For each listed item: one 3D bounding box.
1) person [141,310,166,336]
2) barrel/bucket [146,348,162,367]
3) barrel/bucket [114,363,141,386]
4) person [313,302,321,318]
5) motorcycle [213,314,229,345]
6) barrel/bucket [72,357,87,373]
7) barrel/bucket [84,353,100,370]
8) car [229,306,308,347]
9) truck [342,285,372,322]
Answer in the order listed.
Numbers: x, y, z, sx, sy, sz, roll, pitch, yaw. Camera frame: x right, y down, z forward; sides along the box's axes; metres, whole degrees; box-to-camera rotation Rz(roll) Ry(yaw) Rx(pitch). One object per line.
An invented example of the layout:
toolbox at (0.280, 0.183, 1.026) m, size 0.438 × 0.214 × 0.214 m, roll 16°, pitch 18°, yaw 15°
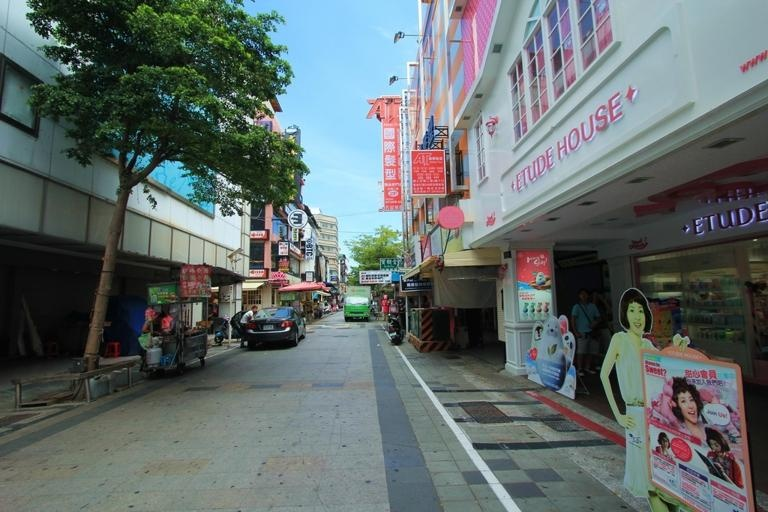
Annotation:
person at (-6.171, 1.801, 13.982) m, size 0.456 × 0.730 × 0.984 m, roll -1°, pitch -9°, yaw -7°
barrel/bucket at (-6.049, 2.697, 13.697) m, size 0.397 × 0.452 × 0.418 m, roll 0°, pitch -13°, yaw 0°
barrel/bucket at (-6.522, 3.092, 13.293) m, size 0.352 × 0.612 × 0.577 m, roll -2°, pitch -4°, yaw -45°
person at (-5.815, 4.771, 44.231) m, size 0.361 × 1.096 × 0.798 m, roll 3°, pitch 1°, yaw 4°
motorcycle at (-6.958, 3.231, 22.170) m, size 0.603 × 1.241 × 1.905 m, roll 0°, pitch -10°, yaw -19°
barrel/bucket at (-7.074, 2.565, 12.081) m, size 0.288 × 0.322 × 0.222 m, roll -1°, pitch -9°, yaw -9°
barrel/bucket at (-6.909, 2.557, 12.358) m, size 0.304 × 0.407 × 0.316 m, roll -1°, pitch -7°, yaw 0°
car at (-4.665, 2.900, 20.823) m, size 2.881 × 1.552 × 3.537 m, roll -1°, pitch -10°, yaw -12°
truck at (-2.071, 3.496, 37.918) m, size 1.871 × 2.602 × 1.993 m, roll -2°, pitch -9°, yaw -6°
